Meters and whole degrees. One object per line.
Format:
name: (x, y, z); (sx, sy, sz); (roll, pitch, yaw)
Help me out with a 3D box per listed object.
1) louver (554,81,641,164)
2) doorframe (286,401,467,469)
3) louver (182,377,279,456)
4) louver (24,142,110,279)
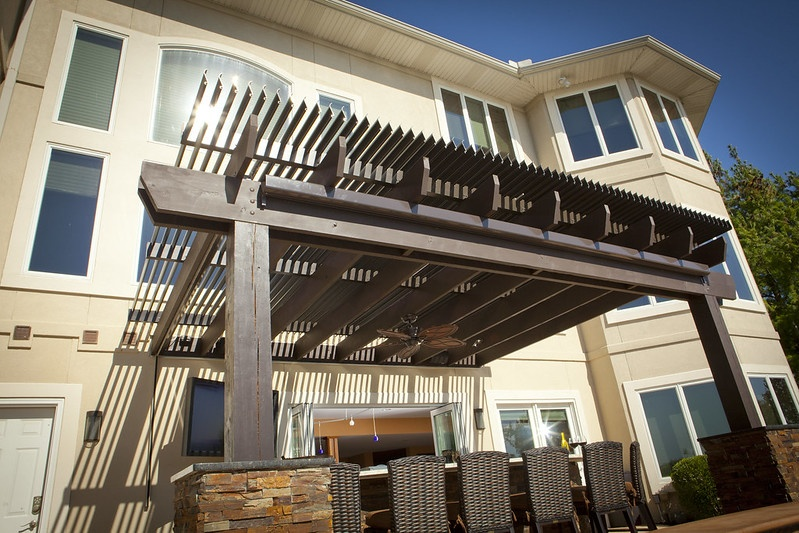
louver: (5.682, -4.211, 14.289); (2.053, 2.486, 0.126); (-13, -17, 12)
doorframe: (-1.045, 5.270, 14.823); (5.446, 2.317, 2.720); (-10, -7, 19)
louver: (-2.846, 2.624, 8.391); (1.752, 1.355, 0.171); (21, -50, -40)
louver: (-5.952, -0.972, 8.809); (0.999, 2.414, 0.165); (10, -12, -34)
